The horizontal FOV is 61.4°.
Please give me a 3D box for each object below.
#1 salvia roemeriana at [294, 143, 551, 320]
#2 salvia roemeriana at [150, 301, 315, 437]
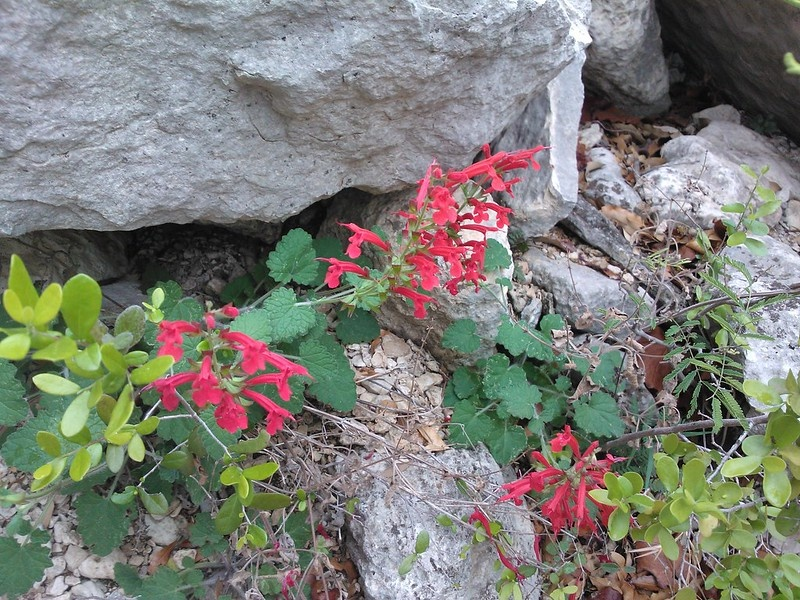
[{"bbox_3d":[0.093,-0.316,3.235,0.457,0.717,0.470,39,47,1],"label":"salvia roemeriana"},{"bbox_3d":[-0.600,0.256,2.544,0.565,0.425,0.511,14,61,-1],"label":"salvia roemeriana"}]
